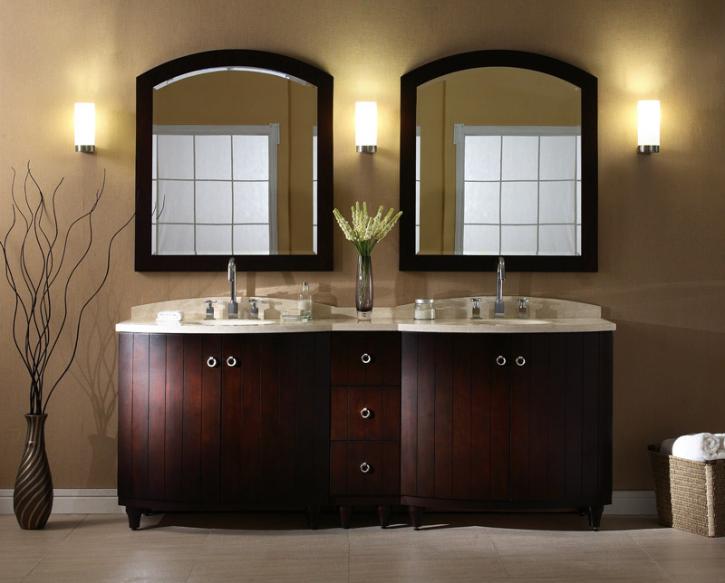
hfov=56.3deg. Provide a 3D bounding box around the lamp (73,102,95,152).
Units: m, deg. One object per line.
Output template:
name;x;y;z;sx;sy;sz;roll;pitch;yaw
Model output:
lamp;-1.427;-0.836;3.480;0.144;0.237;0.144;-11;26;-43

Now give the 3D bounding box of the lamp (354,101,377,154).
lamp;0.019;-0.841;3.494;0.098;0.250;0.046;0;-1;-5

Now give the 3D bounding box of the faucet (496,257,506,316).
faucet;0.710;-0.029;3.489;0.049;0.305;0.150;-1;-1;12

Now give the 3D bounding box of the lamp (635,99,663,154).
lamp;1.497;-0.856;3.530;0.122;0.284;0.075;-1;-1;10

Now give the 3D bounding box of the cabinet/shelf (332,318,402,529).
cabinet/shelf;0.015;0.646;3.331;0.345;1.005;0.293;0;11;2

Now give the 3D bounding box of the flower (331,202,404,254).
flower;0.027;-0.307;3.480;0.341;0.294;0.306;-2;1;-11

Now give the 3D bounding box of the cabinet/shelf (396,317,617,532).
cabinet/shelf;0.690;0.620;3.417;0.995;1.039;0.584;0;4;6

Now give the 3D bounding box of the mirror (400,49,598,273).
mirror;0.698;-0.714;3.534;1.031;1.306;0.060;0;-1;-1

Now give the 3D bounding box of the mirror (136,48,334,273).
mirror;-0.679;-0.710;3.506;1.028;1.297;0.058;0;3;-1

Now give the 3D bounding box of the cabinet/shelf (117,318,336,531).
cabinet/shelf;-0.631;0.593;3.153;0.883;0.916;0.356;0;-3;0

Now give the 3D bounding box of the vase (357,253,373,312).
vase;0.013;-0.037;3.403;0.078;0.293;0.048;0;-1;-9

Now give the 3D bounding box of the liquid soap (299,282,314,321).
liquid soap;-0.284;0.049;3.431;0.073;0.192;0.211;0;-2;-5

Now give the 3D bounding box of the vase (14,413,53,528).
vase;-1.589;0.864;3.278;0.163;0.557;0.153;0;-1;-28

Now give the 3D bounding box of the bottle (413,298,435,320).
bottle;0.317;0.090;3.481;0.094;0.096;0.099;-1;1;-8
